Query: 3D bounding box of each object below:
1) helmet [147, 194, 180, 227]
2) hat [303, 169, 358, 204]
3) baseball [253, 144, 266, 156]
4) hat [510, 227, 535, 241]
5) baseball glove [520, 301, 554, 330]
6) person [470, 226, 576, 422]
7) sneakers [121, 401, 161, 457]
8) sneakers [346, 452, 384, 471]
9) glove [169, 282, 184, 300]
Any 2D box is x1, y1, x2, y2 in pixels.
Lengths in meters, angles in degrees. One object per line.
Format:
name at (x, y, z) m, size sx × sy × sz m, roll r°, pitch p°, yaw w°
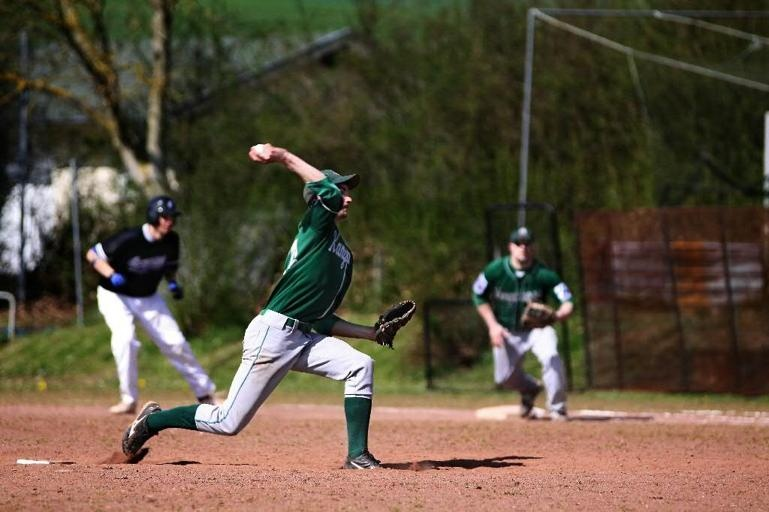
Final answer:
helmet at (-2.701, -0.550, 14.504) m, size 0.374 × 0.314 × 0.284 m, roll 9°, pitch -2°, yaw 7°
hat at (-0.620, -0.827, 12.953) m, size 0.566 × 0.240 × 0.370 m, roll -18°, pitch 0°, yaw 22°
baseball at (-1.340, -1.123, 12.669) m, size 0.121 × 0.111 × 0.220 m, roll 0°, pitch 5°, yaw -10°
hat at (1.678, -0.256, 14.528) m, size 0.269 × 0.170 × 0.260 m, roll 1°, pitch 5°, yaw 4°
baseball glove at (1.839, 0.730, 14.345) m, size 0.356 × 0.271 × 0.353 m, roll 12°, pitch -15°, yaw -16°
person at (1.697, 0.819, 14.586) m, size 1.197 × 2.311 × 0.573 m, roll 2°, pitch 5°, yaw 9°
sneakers at (-2.782, 1.987, 13.657) m, size 0.253 × 0.584 × 0.210 m, roll 38°, pitch 2°, yaw 37°
sneakers at (-0.212, 2.254, 13.151) m, size 0.398 × 0.184 × 0.158 m, roll -2°, pitch -2°, yaw 4°
glove at (-2.661, 0.431, 15.302) m, size 0.135 × 0.228 × 0.138 m, roll -16°, pitch 35°, yaw 11°
